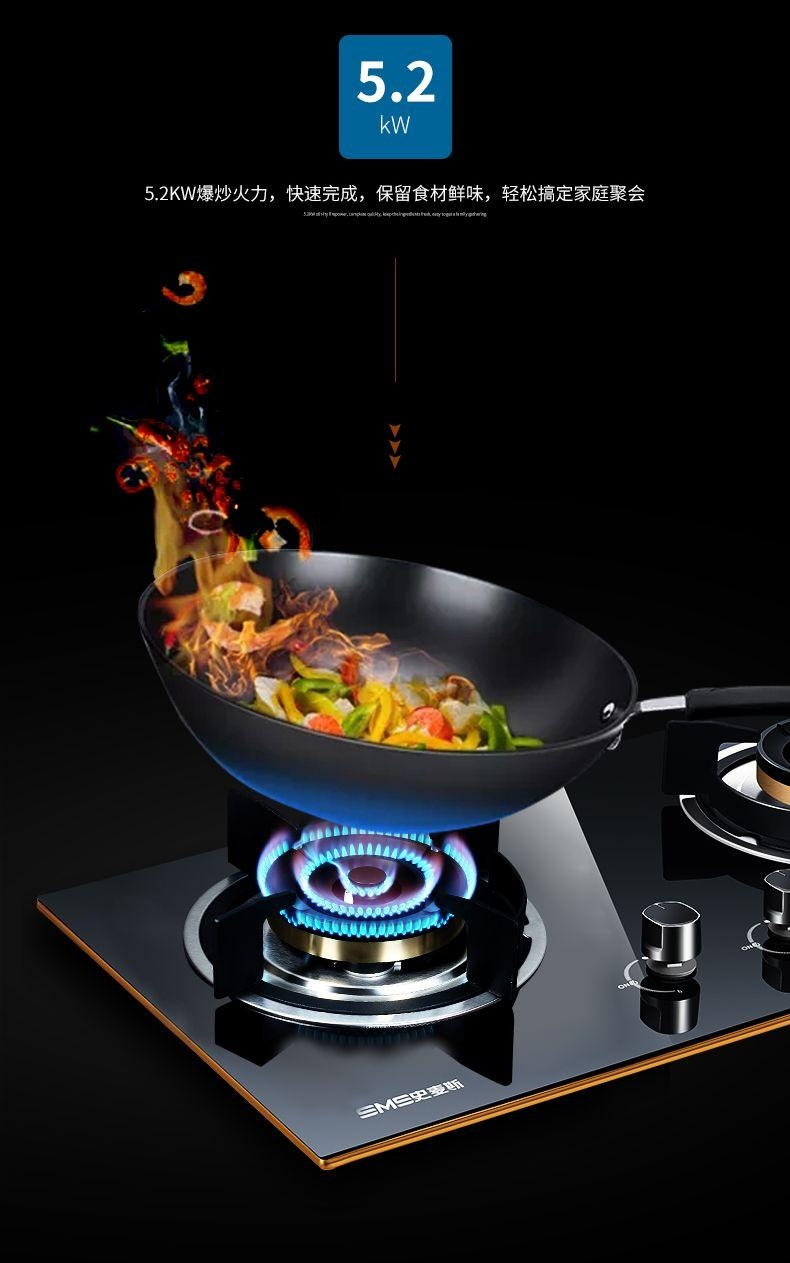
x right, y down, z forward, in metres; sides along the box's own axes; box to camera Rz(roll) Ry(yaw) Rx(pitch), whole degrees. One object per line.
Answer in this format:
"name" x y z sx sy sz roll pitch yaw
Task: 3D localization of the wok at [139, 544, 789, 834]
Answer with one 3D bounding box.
"wok" 0.055 0.077 1.348 0.682 0.138 0.399 4 16 -12
